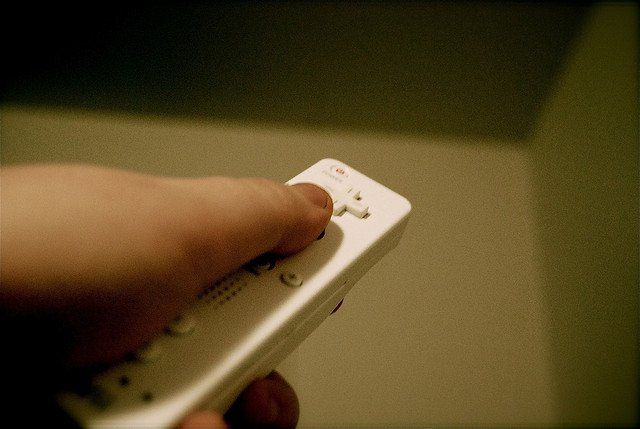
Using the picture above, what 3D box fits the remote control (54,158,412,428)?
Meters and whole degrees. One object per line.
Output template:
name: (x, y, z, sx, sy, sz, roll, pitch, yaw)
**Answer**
remote control: (-0.084, 0.109, 0.721, 0.217, 0.092, 0.495, 27, 54, 19)
